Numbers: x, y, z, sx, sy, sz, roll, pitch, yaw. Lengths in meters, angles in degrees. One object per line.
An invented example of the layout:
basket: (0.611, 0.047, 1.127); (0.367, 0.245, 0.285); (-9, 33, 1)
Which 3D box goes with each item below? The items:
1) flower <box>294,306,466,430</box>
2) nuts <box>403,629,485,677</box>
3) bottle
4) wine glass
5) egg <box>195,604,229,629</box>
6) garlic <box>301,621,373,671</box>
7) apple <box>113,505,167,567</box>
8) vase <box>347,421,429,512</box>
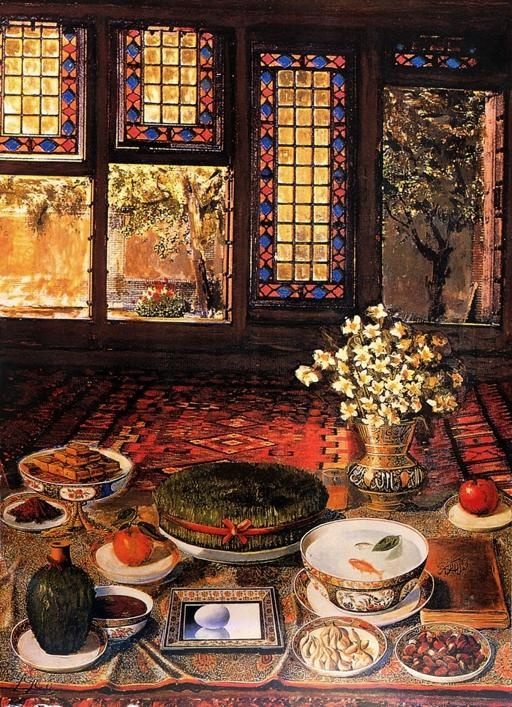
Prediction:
flower: (0.373, 0.026, 2.106); (0.536, 0.340, 0.397); (1, 2, 11)
nuts: (0.409, 0.658, 1.433); (0.196, 0.044, 0.116); (1, 12, -1)
bottle: (-0.407, 0.528, 1.376); (0.135, 0.248, 0.092); (-4, 13, -21)
wine glass: (-0.508, 0.373, 1.863); (0.295, 0.207, 0.285); (-1, 14, -24)
egg: (-0.102, 0.604, 1.500); (0.068, 0.046, 0.048); (1, 24, 0)
garlic: (0.173, 0.636, 1.417); (0.162, 0.048, 0.109); (0, 12, -5)
apple: (-0.295, 0.469, 1.678); (0.155, 0.106, 0.117); (7, 17, 29)
vase: (0.411, 0.346, 2.057); (0.232, 0.256, 0.222); (-2, -2, 27)
